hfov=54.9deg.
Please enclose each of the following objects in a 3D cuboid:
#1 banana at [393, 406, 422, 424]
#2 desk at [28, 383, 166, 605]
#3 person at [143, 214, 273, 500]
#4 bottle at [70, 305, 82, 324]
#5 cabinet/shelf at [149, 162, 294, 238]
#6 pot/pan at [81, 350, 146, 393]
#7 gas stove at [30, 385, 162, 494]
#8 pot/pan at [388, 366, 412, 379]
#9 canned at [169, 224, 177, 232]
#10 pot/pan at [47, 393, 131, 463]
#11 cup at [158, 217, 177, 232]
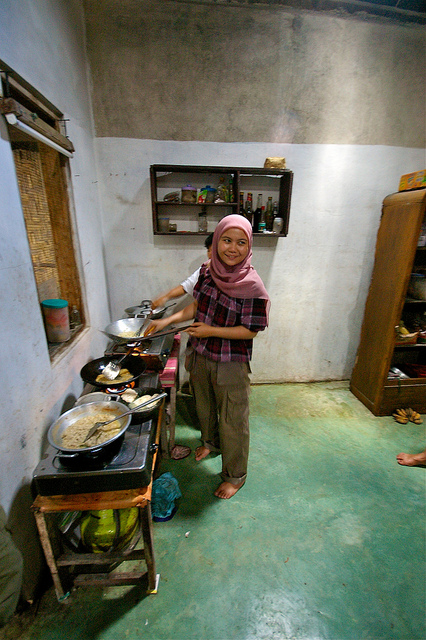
[{"bbox_3d":[1.609,0.791,3.397,0.142,0.044,0.141,-8,10,-32],"label":"banana"},{"bbox_3d":[-0.522,0.800,2.186,0.441,0.676,0.998,-5,16,-5],"label":"desk"},{"bbox_3d":[0.002,0.218,2.510,0.413,1.678,0.616,-13,23,-40],"label":"person"},{"bbox_3d":[-0.915,-0.032,2.706,0.072,0.119,0.115,-1,17,-9],"label":"bottle"},{"bbox_3d":[0.048,-0.931,3.290,1.064,0.519,0.241,1,14,1],"label":"cabinet/shelf"},{"bbox_3d":[-0.522,0.271,2.139,0.241,0.073,0.228,-14,25,-24],"label":"pot/pan"},{"bbox_3d":[-0.515,0.610,1.779,0.561,0.428,0.352,-2,17,-14],"label":"gas stove"},{"bbox_3d":[1.587,0.447,3.475,0.123,0.043,0.123,3,7,11],"label":"pot/pan"},{"bbox_3d":[-0.324,-0.747,3.363,0.061,0.084,0.085,1,1,1],"label":"canned"},{"bbox_3d":[-0.510,0.460,1.724,0.310,0.068,0.350,10,24,17],"label":"pot/pan"},{"bbox_3d":[-0.370,-0.772,3.312,0.114,0.103,0.142,7,18,15],"label":"cup"}]
